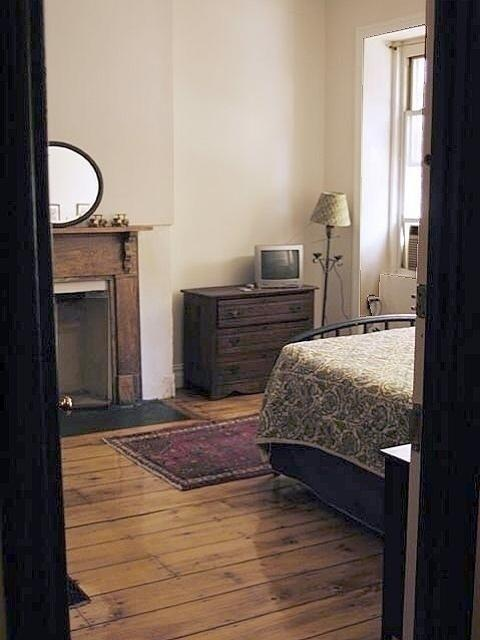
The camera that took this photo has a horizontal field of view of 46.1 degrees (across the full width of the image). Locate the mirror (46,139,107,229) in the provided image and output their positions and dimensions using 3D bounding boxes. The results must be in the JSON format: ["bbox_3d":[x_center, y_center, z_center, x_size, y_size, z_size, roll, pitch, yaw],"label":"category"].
[{"bbox_3d":[-1.093,-0.910,3.814,0.342,0.564,0.219,-2,6,-14],"label":"mirror"}]

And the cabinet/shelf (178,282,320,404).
[{"bbox_3d":[0.089,0.118,4.640,0.947,0.891,0.478,-8,17,-31],"label":"cabinet/shelf"}]

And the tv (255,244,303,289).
[{"bbox_3d":[0.303,-0.454,4.787,0.476,0.490,0.302,-2,8,-15],"label":"tv"}]

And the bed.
[{"bbox_3d":[0.489,0.377,2.484,0.794,0.444,0.794,-7,11,-34],"label":"bed"}]

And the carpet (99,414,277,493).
[{"bbox_3d":[-0.265,0.763,3.277,0.935,0.055,0.908,-3,7,-21],"label":"carpet"}]
